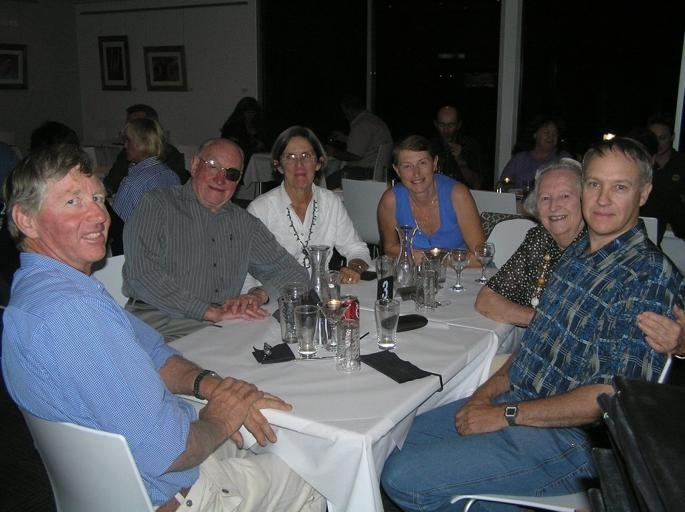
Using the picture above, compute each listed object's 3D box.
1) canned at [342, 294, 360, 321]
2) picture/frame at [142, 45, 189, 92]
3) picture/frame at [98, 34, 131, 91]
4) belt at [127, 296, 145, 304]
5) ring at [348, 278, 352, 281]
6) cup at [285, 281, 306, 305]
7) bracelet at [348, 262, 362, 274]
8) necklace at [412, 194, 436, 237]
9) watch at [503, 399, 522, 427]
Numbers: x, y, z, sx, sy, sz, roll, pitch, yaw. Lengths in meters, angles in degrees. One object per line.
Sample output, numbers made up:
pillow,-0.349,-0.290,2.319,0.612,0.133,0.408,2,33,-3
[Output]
canned,0.034,0.192,1.958,0.081,0.135,0.078,1,6,3
picture/frame,-3.002,-3.225,8.937,0.812,0.827,0.059,3,11,21
picture/frame,-4.085,-3.455,9.375,0.737,0.964,0.142,4,14,32
belt,-1.033,0.216,2.600,0.068,0.026,0.052,2,-14,17
ring,0.041,0.122,2.749,0.016,0.015,0.004,0,-6,16
cup,-0.189,0.144,2.094,0.079,0.078,0.079,0,14,0
bracelet,0.076,0.063,2.922,0.064,0.017,0.062,31,17,-19
necklace,0.554,-0.267,3.429,0.149,0.273,0.066,-5,11,10
watch,0.590,0.550,1.825,0.044,0.070,0.073,0,51,8
